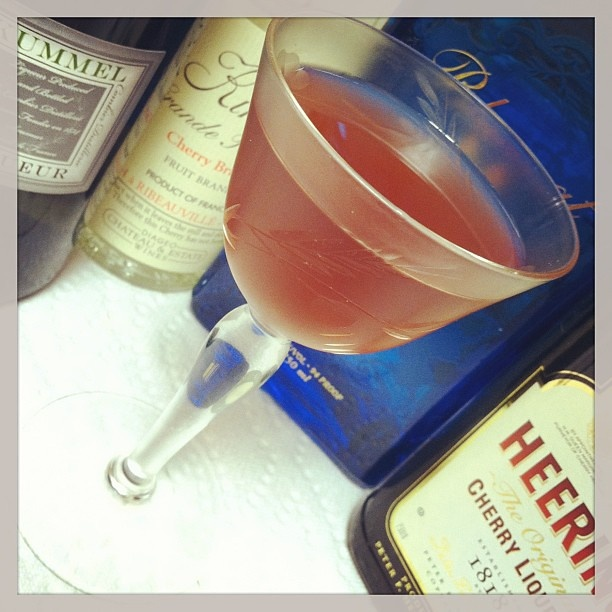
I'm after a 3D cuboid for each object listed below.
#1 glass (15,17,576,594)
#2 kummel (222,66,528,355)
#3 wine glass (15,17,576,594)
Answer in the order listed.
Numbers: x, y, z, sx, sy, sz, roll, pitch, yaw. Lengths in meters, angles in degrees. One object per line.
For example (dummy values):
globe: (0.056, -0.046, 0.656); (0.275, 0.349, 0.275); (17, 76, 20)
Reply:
glass: (-0.083, 0.030, 0.772); (0.449, 0.603, 0.368); (4, 39, -7)
kummel: (0.030, -0.066, 0.625); (0.270, 0.236, 0.260); (23, 32, -21)
wine glass: (-0.081, 0.032, 0.769); (0.449, 0.603, 0.368); (4, 39, -7)
